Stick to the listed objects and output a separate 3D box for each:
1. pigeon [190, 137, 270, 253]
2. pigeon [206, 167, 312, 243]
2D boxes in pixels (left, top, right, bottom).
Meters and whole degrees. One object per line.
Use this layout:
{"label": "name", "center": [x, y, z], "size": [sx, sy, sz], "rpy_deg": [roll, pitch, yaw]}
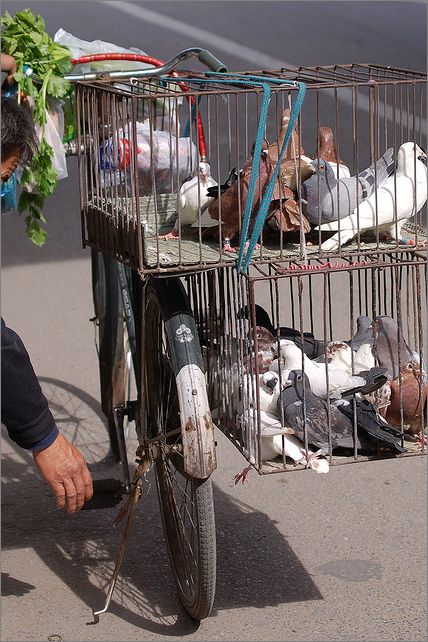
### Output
{"label": "pigeon", "center": [0.066, -0.314, 1.699], "size": [0.160, 0.274, 0.414], "rpy_deg": [-2, 11, -2]}
{"label": "pigeon", "center": [0.118, -0.285, 1.700], "size": [0.187, 0.152, 0.300], "rpy_deg": [-11, 25, -18]}
